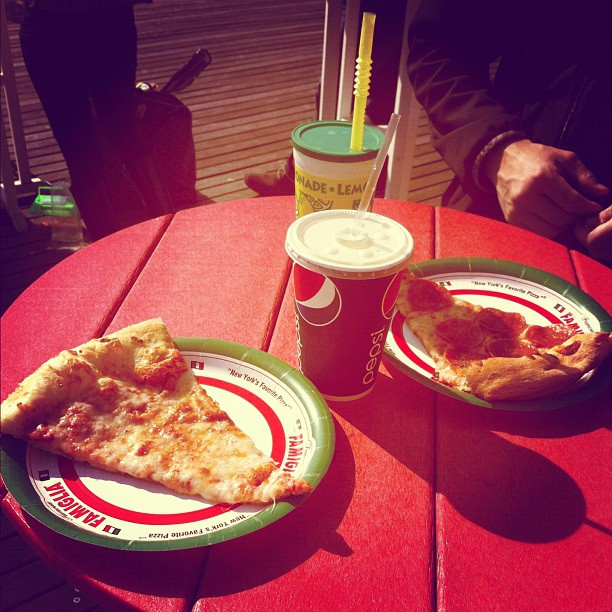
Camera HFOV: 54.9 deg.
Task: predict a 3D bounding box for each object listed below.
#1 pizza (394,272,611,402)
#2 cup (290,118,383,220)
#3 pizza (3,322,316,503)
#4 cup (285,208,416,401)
[{"bbox_3d":[0.321,0.039,0.952,0.231,0.023,0.213,5,39,5],"label":"pizza"},{"bbox_3d":[0.062,-0.235,1.213,0.174,0.229,0.167,0,35,0],"label":"cup"},{"bbox_3d":[-0.181,0.112,0.735,0.324,0.069,0.224,26,44,21],"label":"pizza"},{"bbox_3d":[0.092,0.044,0.921,0.199,0.190,0.228,-6,69,23],"label":"cup"}]
